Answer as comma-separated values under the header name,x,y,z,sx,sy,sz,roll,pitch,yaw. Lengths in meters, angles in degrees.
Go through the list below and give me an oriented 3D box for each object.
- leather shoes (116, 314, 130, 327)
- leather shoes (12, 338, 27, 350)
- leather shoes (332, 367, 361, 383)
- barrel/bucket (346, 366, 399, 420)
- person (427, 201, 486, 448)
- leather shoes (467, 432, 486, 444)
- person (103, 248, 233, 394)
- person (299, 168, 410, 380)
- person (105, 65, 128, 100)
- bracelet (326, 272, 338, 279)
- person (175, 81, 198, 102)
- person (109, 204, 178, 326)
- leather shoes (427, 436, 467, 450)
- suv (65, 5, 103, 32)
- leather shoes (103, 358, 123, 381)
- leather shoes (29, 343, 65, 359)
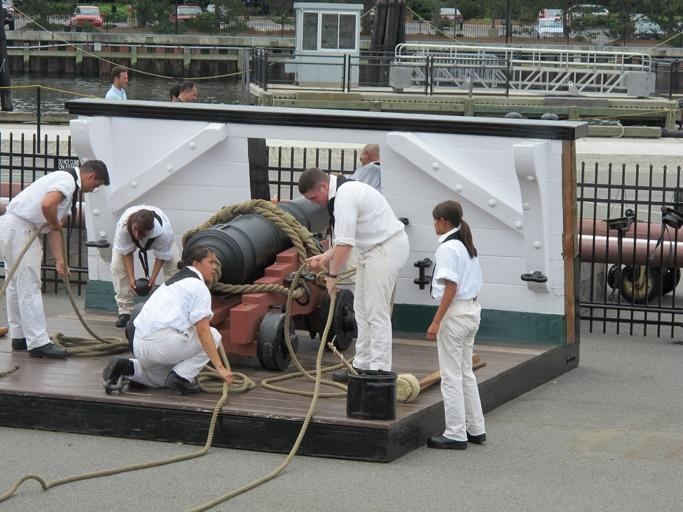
name,x,y,z,sx,sy,sz,roll,pitch,yaw
leather shoes,-2.299,0.679,13.585,0.120,0.151,0.354,0,-4,6
leather shoes,-3.162,0.867,12.705,0.074,0.075,0.176,2,6,2
leather shoes,0.068,1.105,12.187,0.351,0.147,0.123,-6,2,19
barrel/bucket,0.219,1.202,11.313,0.391,0.385,0.393,1,0,0
person,1.003,0.619,11.351,0.522,2.169,0.355,-1,9,0
leather shoes,1.198,1.625,11.602,0.197,0.093,0.072,3,7,16
person,-1.501,0.597,11.961,1.160,1.366,1.016,-1,-10,9
person,0.126,0.190,12.020,0.986,1.998,0.966,-2,9,-8
person,-2.832,-2.173,16.295,0.237,0.398,0.886,-2,9,-10
bracelet,-0.093,0.172,11.841,0.098,0.079,0.201,-1,9,-1
person,-1.912,-2.022,15.978,0.237,0.246,0.775,-2,9,-7
person,-2.034,0.027,13.416,0.694,1.576,1.057,-4,29,-11
leather shoes,0.921,1.650,11.439,0.337,0.146,0.126,7,5,7
suv,-14.009,-13.079,71.246,1.293,1.044,2.049,1,25,-3
leather shoes,-2.059,1.026,11.618,0.120,0.274,0.100,17,28,-25
leather shoes,-2.826,0.930,12.581,0.374,0.160,0.138,-2,7,-3
